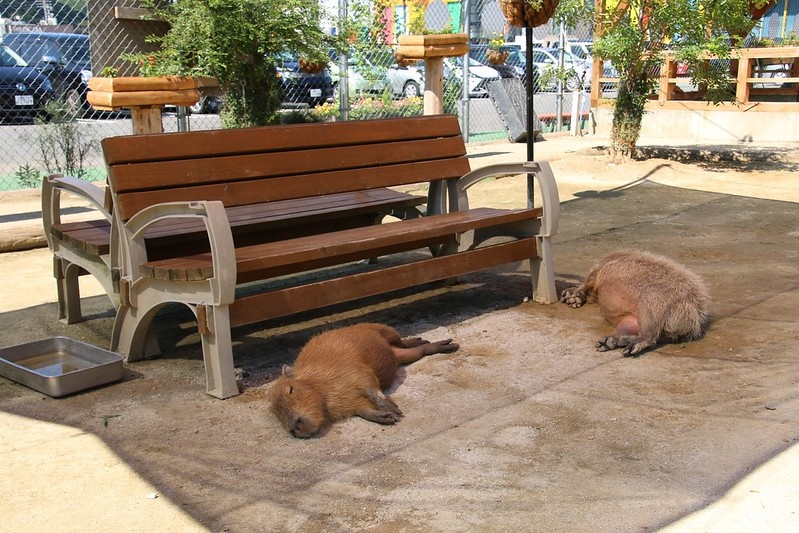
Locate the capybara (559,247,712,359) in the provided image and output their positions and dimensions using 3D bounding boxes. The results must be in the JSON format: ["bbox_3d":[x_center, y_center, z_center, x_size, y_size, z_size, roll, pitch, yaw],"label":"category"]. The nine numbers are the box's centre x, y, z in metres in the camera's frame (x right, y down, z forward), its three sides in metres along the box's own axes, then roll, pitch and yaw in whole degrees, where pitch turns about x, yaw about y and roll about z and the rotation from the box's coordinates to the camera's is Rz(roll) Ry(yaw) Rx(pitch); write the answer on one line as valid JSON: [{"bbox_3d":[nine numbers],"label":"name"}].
[{"bbox_3d":[1.929,0.212,4.988,0.927,0.618,1.311,2,8,-26],"label":"capybara"}]

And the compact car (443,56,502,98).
[{"bbox_3d":[2.110,-5.199,17.401,1.000,1.214,7.051,0,14,9],"label":"compact car"}]

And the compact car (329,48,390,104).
[{"bbox_3d":[-0.719,-3.681,12.451,0.984,0.801,6.572,-3,14,-1],"label":"compact car"}]

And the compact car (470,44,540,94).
[{"bbox_3d":[4.100,-6.679,21.595,3.291,1.497,1.582,-16,31,-31],"label":"compact car"}]

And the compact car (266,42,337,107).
[{"bbox_3d":[-2.143,-4.377,15.029,1.817,0.945,2.391,-3,8,-15],"label":"compact car"}]

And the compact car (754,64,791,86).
[{"bbox_3d":[10.682,-5.539,18.613,0.865,0.719,7.319,6,16,28],"label":"compact car"}]
